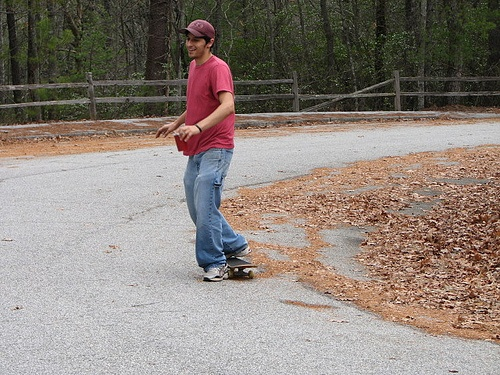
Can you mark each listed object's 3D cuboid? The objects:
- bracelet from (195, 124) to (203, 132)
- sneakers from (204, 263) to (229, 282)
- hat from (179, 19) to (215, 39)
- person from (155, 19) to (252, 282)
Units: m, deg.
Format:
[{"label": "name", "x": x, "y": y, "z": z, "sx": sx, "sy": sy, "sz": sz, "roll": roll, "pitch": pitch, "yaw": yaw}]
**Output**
[{"label": "bracelet", "x": -0.519, "y": -0.613, "z": 6.777, "sx": 0.070, "sy": 0.086, "sz": 0.087, "roll": -3, "pitch": 9, "yaw": -5}, {"label": "sneakers", "x": -0.368, "y": 0.948, "z": 7.235, "sx": 0.152, "sy": 0.114, "sz": 0.341, "roll": -2, "pitch": -4, "yaw": 31}, {"label": "hat", "x": -0.534, "y": -1.712, "z": 7.100, "sx": 0.354, "sy": 0.114, "sz": 0.227, "roll": 0, "pitch": 9, "yaw": -35}, {"label": "person", "x": -0.455, "y": -0.387, "z": 7.117, "sx": 0.834, "sy": 2.872, "sz": 0.770, "roll": -3, "pitch": 11, "yaw": -5}]
